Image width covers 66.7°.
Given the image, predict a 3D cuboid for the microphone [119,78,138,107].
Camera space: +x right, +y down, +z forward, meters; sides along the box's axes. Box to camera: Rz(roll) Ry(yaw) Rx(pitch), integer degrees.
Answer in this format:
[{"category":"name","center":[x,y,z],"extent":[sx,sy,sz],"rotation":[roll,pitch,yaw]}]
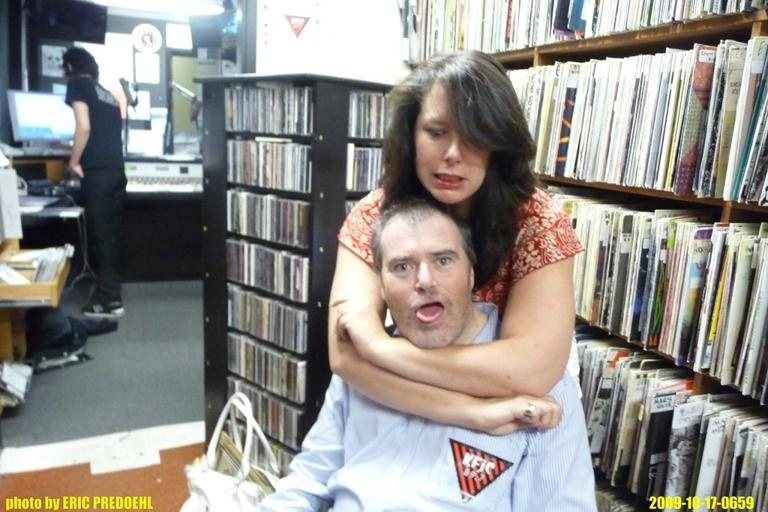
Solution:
[{"category":"microphone","center":[-1.925,-1.225,4.395],"extent":[0.124,0.208,0.032],"rotation":[4,15,17]}]

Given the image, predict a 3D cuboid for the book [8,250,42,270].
[{"category":"book","center":[-2.411,0.027,3.907],"extent":[0.166,0.038,0.166],"rotation":[3,23,-5]}]

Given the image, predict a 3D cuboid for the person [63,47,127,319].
[{"category":"person","center":[-2.226,-0.505,4.578],"extent":[0.460,2.095,0.306],"rotation":[0,15,2]}]

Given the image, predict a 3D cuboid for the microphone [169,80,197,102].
[{"category":"microphone","center":[-1.504,-1.231,4.365],"extent":[0.174,0.135,0.063],"rotation":[-6,15,-17]}]

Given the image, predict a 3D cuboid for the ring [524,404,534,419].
[{"category":"ring","center":[0.475,0.508,1.900],"extent":[0.025,0.043,0.024],"rotation":[26,-20,10]}]

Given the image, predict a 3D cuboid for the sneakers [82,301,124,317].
[{"category":"sneakers","center":[-2.310,0.441,4.775],"extent":[0.284,0.123,0.102],"rotation":[8,-9,-25]}]

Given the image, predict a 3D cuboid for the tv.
[{"category":"tv","center":[-2.576,-1.013,4.368],"extent":[0.063,0.372,0.558],"rotation":[27,15,37]}]
